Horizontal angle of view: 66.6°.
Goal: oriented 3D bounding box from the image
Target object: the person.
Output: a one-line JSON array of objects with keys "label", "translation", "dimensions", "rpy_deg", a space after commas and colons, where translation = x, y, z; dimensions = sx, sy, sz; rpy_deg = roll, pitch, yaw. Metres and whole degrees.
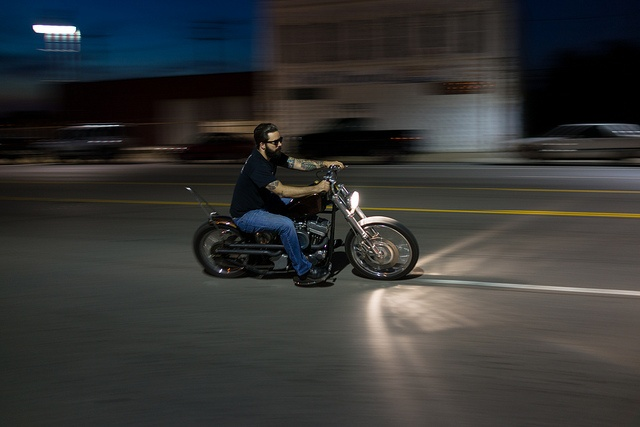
[{"label": "person", "translation": [-0.467, -0.123, 6.132], "dimensions": [0.931, 1.992, 1.118], "rpy_deg": [-12, 21, -33]}]

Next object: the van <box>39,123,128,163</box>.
[{"label": "van", "translation": [-13.483, -4.133, 28.070], "dimensions": [4.861, 1.553, 1.926], "rpy_deg": [2, 10, 1]}]
